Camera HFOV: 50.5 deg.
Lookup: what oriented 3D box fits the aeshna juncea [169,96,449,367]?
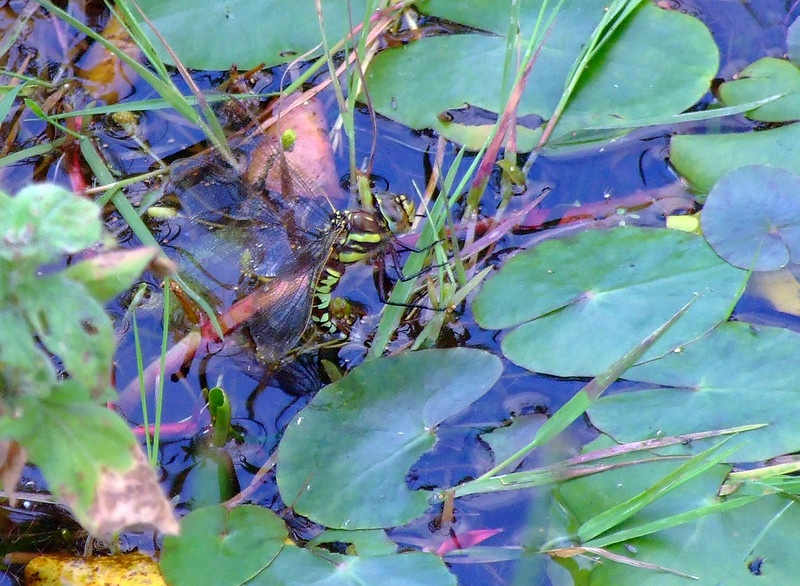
[{"bbox_3d":[-0.118,-0.080,1.825,0.373,0.360,0.192,-40,-83,18],"label":"aeshna juncea"}]
